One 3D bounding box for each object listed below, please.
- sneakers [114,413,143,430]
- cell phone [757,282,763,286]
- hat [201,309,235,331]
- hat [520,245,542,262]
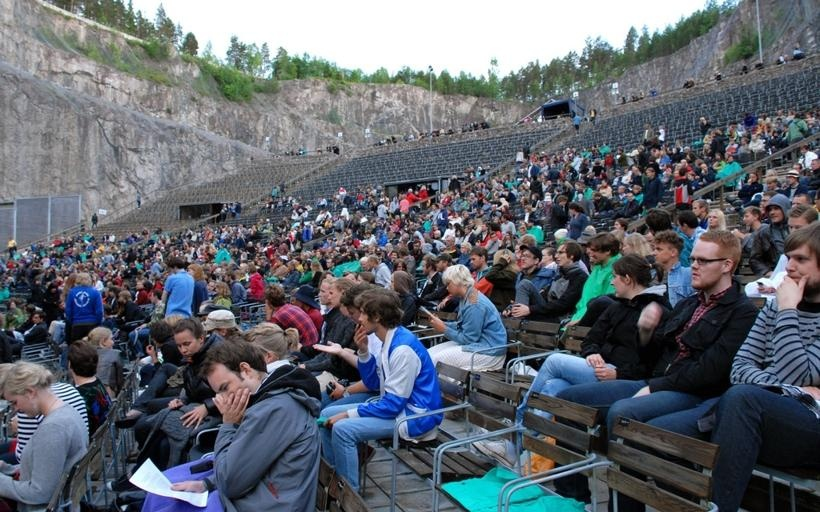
[{"bbox_3d":[-3.881,2.298,10.444,0.178,0.131,0.426,-2,-3,31],"label":"sneakers"},{"bbox_3d":[5.002,0.384,10.716,0.057,0.056,0.118,-5,7,16],"label":"cell phone"},{"bbox_3d":[-2.769,0.936,10.991,0.296,0.174,0.376,1,2,-42],"label":"hat"},{"bbox_3d":[2.201,-0.059,13.385,0.355,0.171,0.243,30,-11,-28],"label":"hat"}]
